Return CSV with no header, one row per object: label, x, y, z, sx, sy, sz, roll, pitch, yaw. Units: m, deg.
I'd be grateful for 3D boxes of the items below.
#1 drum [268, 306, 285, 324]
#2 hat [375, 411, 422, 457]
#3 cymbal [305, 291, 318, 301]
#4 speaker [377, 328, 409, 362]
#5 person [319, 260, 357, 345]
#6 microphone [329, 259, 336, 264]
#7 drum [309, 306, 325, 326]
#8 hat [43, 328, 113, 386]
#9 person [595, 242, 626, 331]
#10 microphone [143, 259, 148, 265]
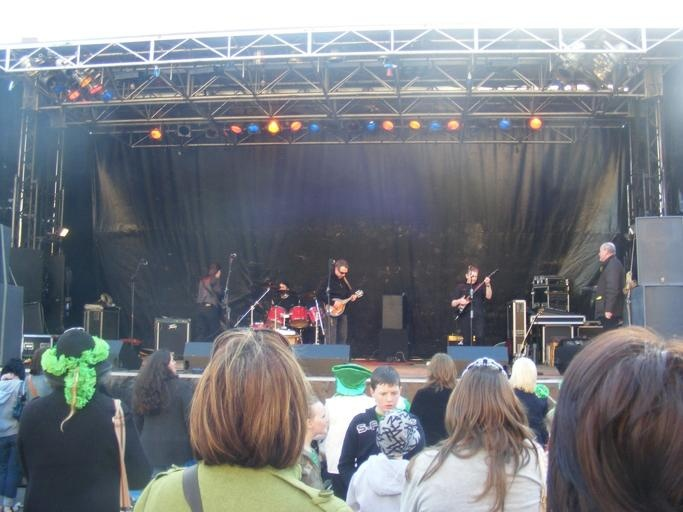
drum,-1.080,0.963,14.358,0.288,0.276,0.279,6,-2,-4
hat,0.467,1.430,7.228,0.351,0.365,0.466,7,22,13
cymbal,-0.560,0.712,15.211,0.189,0.066,0.180,-2,12,-8
speaker,0.810,1.382,13.740,0.487,0.467,0.482,0,-7,4
person,-0.051,0.889,14.706,0.705,1.678,0.399,-10,25,-30
microphone,-0.170,0.091,14.332,0.097,0.084,0.022,3,1,-43
drum,-0.429,1.004,14.619,0.300,0.275,0.281,-13,-14,32
hat,-2.253,0.912,7.411,0.619,0.406,0.738,-3,29,-18
person,3.657,0.408,11.906,0.361,1.184,0.452,0,-4,-2
microphone,-3.641,0.109,16.020,0.082,0.109,0.027,2,-7,-9
